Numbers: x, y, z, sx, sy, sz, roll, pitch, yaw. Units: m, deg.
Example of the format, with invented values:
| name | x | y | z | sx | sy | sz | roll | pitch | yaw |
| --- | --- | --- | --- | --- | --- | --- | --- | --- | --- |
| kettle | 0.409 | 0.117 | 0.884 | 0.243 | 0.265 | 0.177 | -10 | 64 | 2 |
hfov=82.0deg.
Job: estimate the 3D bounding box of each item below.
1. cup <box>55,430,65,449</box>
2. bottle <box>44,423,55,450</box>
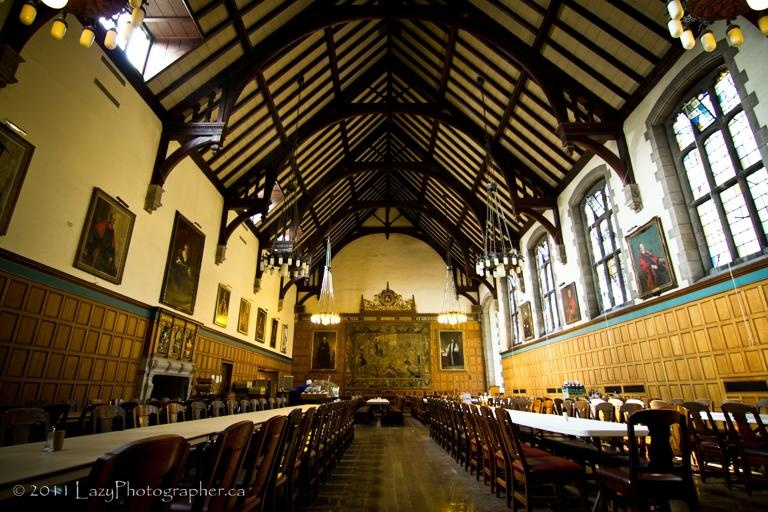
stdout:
| name | x | y | z | sx | sy | sz | roll | pitch | yaw |
| --- | --- | --- | --- | --- | --- | --- | --- | --- | --- |
| cup | -3.687 | 2.096 | 5.035 | 0.104 | 0.207 | 0.154 | 12 | -25 | -33 |
| bottle | -3.824 | 2.105 | 5.098 | 0.082 | 0.267 | 0.307 | 15 | -27 | -38 |
